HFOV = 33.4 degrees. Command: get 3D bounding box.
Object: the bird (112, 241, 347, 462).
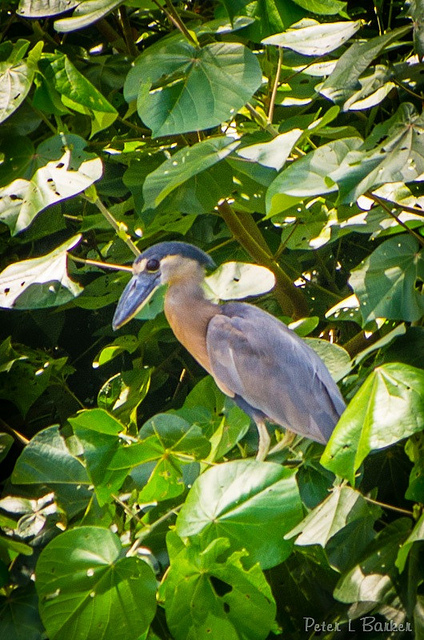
[{"bbox_3d":[0.033,0.032,0.791,0.288,0.226,0.100,1,13,7],"label":"bird"}]
